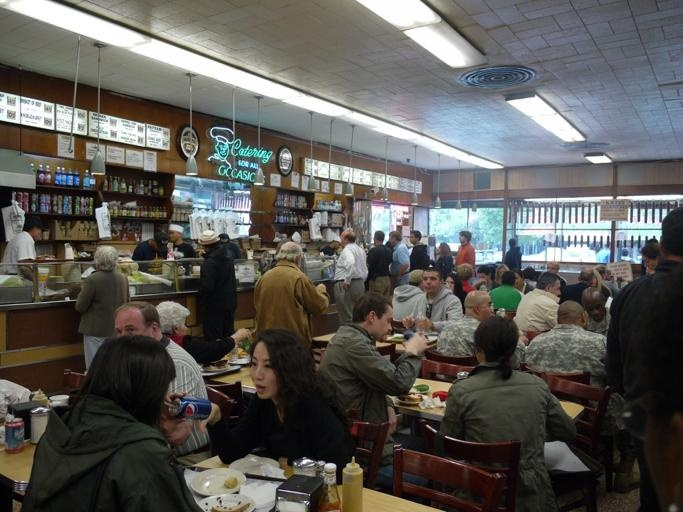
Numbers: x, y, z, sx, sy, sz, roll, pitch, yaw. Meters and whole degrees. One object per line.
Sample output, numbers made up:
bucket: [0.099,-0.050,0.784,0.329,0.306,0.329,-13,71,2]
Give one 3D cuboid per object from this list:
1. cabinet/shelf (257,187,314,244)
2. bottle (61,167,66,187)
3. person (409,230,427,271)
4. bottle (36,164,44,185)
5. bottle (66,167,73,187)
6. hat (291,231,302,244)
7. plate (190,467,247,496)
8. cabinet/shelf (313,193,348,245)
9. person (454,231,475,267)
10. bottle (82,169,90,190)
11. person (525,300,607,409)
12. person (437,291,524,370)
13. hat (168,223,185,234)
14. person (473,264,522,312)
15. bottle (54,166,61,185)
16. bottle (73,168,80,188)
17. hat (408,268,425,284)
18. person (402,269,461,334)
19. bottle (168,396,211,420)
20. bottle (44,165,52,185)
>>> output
cabinet/shelf: [-1.275,-0.857,11.018,0.480,1.169,1.548,7,4,37]
bottle: [-3.989,-1.151,7.430,0.063,0.253,0.245,3,3,-30]
person: [1.548,-0.093,10.319,0.380,0.537,1.083,5,3,7]
bottle: [-4.166,-1.118,7.134,0.091,0.264,0.164,3,4,-33]
bottle: [-3.932,-1.139,7.481,0.097,0.272,0.224,3,3,-27]
hat: [-0.952,-0.397,10.905,0.279,0.254,0.240,2,-13,4]
plate: [-0.547,1.019,2.307,0.187,0.025,0.191,9,12,35]
cabinet/shelf: [-0.297,-0.839,11.717,0.398,1.132,1.361,-4,-2,36]
person: [2.577,-0.157,10.680,0.353,0.550,0.832,5,3,12]
bottle: [-3.780,-1.141,7.664,0.120,0.293,0.242,3,3,-26]
person: [1.808,0.700,4.072,0.436,0.625,0.750,12,-14,-37]
person: [1.132,0.633,4.503,0.471,0.620,0.798,10,-2,-16]
hat: [-2.540,-0.425,7.979,0.219,0.142,0.286,6,11,27]
person: [2.033,0.416,6.739,0.272,0.724,0.232,-18,-24,33]
bottle: [-4.047,-1.145,7.362,0.084,0.263,0.224,3,3,-31]
bottle: [-3.872,-1.141,7.563,0.102,0.277,0.250,3,3,-28]
hat: [0.986,0.273,6.789,0.150,0.102,0.204,3,11,22]
person: [1.022,0.623,5.807,0.645,0.895,0.685,-1,-4,-22]
bottle: [-0.687,0.690,2.317,0.148,0.078,0.081,13,3,-45]
bottle: [-4.124,-1.152,7.254,0.083,0.270,0.279,3,3,-30]
